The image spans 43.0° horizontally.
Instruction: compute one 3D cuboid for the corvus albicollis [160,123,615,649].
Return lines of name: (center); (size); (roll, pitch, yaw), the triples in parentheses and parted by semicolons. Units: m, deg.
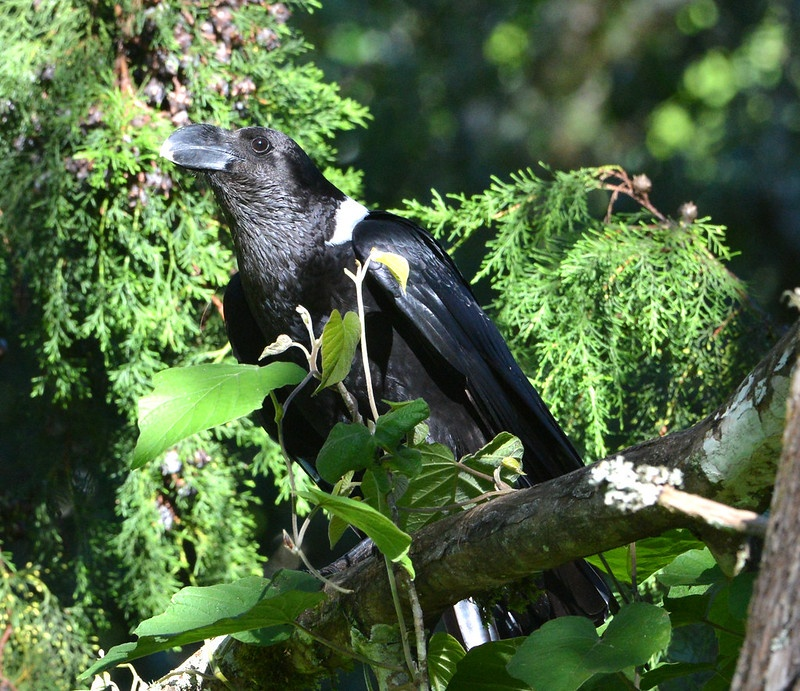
corvus albicollis: (-0.040, -0.066, 3.158); (0.647, 1.261, 1.454); (-9, 2, 36)
